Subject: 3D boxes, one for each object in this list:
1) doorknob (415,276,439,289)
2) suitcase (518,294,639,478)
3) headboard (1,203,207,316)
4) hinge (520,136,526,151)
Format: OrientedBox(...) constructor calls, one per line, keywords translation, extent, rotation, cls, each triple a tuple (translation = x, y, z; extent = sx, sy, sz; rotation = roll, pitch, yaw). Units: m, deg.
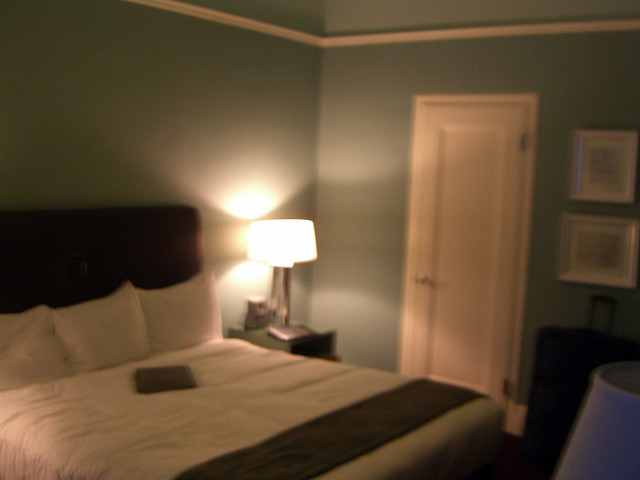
OrientedBox(translation=(0.952, 0.383, 4.818), extent=(0.241, 0.075, 0.078), rotation=(18, 8, 14), cls="doorknob")
OrientedBox(translation=(1.810, 1.044, 3.982), extent=(0.923, 1.203, 0.652), rotation=(-4, 13, -32), cls="suitcase")
OrientedBox(translation=(-1.543, 0.076, 3.713), extent=(0.516, 0.649, 1.717), rotation=(9, 11, 39), cls="headboard")
OrientedBox(translation=(1.645, -0.789, 4.367), extent=(0.054, 0.116, 0.024), rotation=(7, 12, 18), cls="hinge")
